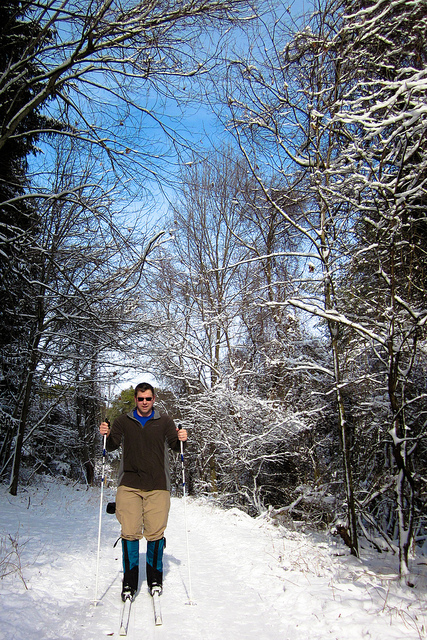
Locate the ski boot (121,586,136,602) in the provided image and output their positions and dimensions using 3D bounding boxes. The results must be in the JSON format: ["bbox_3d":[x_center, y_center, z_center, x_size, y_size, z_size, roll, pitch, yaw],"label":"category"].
[{"bbox_3d":[-0.752,2.426,4.508,0.108,0.115,0.151,5,-12,-7],"label":"ski boot"}]
